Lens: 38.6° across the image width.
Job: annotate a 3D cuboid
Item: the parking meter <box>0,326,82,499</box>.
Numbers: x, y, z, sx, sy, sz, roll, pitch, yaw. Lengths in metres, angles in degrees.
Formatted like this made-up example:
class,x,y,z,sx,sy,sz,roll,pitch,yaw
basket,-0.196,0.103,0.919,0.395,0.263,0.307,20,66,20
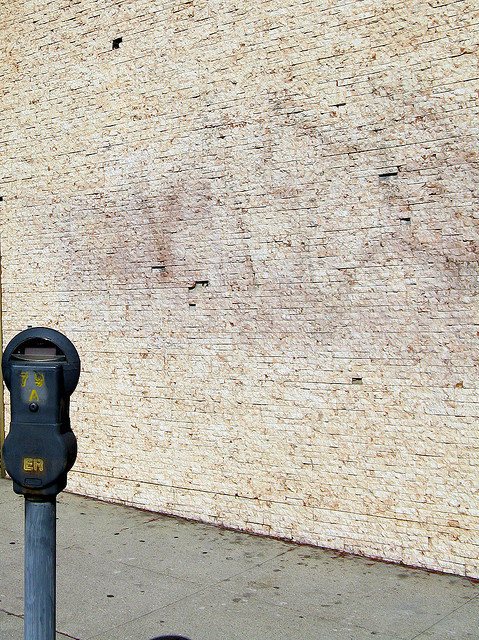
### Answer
class,x,y,z,sx,sy,sz,roll,pitch,yaw
parking meter,-0.768,0.357,2.638,0.310,0.652,0.231,-1,1,-1
